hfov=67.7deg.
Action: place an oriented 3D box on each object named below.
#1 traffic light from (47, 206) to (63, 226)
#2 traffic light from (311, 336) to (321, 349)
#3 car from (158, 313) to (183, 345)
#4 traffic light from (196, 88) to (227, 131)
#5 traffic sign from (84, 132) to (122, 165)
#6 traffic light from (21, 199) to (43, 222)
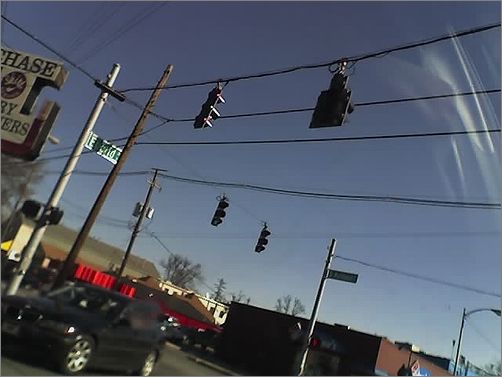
[{"bbox_3d":[-8.060,1.147,15.593,0.686,0.713,0.429,-2,-26,43],"label":"traffic light"},{"bbox_3d":[3.669,8.802,21.562,0.554,0.567,0.601,23,-39,10],"label":"traffic light"},{"bbox_3d":[-6.911,12.738,34.824,1.742,1.394,3.444,22,-36,16],"label":"car"},{"bbox_3d":[-1.464,-2.954,13.535,0.829,1.690,0.474,3,-22,33],"label":"traffic light"},{"bbox_3d":[-7.200,-1.996,18.470,0.292,0.730,2.993,26,-7,13],"label":"traffic sign"},{"bbox_3d":[-8.686,0.883,15.097,0.783,1.107,1.029,0,9,-43],"label":"traffic light"}]
